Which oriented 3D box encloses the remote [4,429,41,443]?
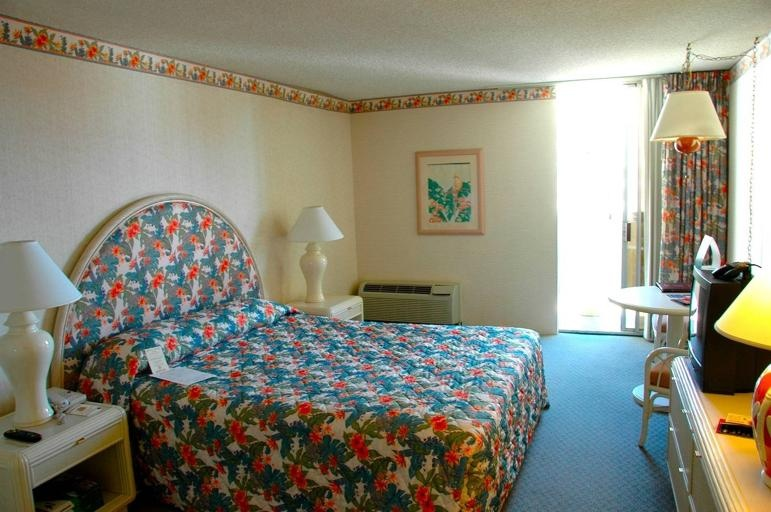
[{"bbox_3d":[-2.255,1.124,3.359,0.218,0.050,0.096,6,6,9],"label":"remote"}]

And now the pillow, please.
[{"bbox_3d":[-1.483,0.729,4.679,0.561,0.370,1.691,-19,1,39],"label":"pillow"}]

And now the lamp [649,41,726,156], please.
[{"bbox_3d":[2.479,-1.332,4.450,0.549,0.865,0.542,0,5,20],"label":"lamp"}]

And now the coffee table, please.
[{"bbox_3d":[2.538,0.771,5.104,1.059,0.746,1.035,-1,20,17],"label":"coffee table"}]
